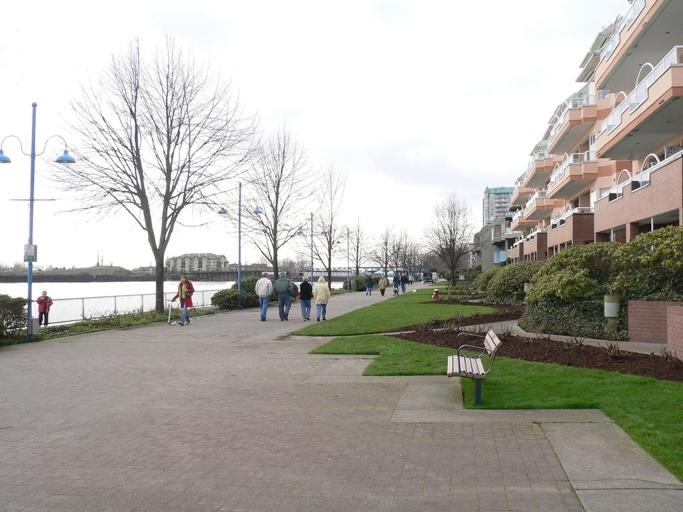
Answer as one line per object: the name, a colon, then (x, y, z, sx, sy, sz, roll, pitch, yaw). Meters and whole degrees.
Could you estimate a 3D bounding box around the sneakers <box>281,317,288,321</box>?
sneakers: (-2.305, 2.610, 22.933, 0.257, 0.126, 0.304, -2, 0, -11)

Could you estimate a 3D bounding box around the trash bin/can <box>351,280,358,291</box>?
trash bin/can: (1.541, 3.444, 65.131, 0.743, 1.214, 1.422, -2, 1, -1)
